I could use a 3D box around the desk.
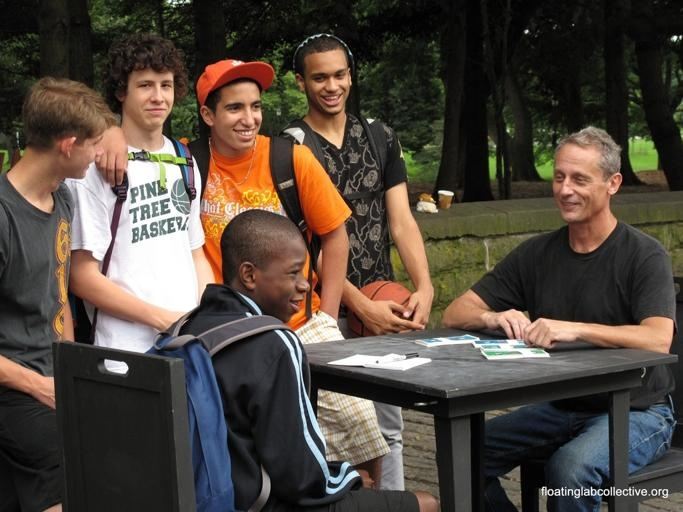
[{"bbox_3d":[0.509,0.390,3.225,1.096,0.740,1.074,-5,8,-38],"label":"desk"}]

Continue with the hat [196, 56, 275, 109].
[{"bbox_3d":[-0.605,-0.940,3.823,0.251,0.183,0.350,-7,-10,-43],"label":"hat"}]

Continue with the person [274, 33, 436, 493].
[{"bbox_3d":[0.101,0.263,4.526,0.892,3.328,0.851,-6,6,-10],"label":"person"}]

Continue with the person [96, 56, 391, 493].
[{"bbox_3d":[-0.432,0.219,3.748,1.042,2.723,0.735,-9,-4,-2],"label":"person"}]

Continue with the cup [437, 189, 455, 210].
[{"bbox_3d":[1.054,-0.571,7.213,0.211,0.208,0.215,3,2,0],"label":"cup"}]
